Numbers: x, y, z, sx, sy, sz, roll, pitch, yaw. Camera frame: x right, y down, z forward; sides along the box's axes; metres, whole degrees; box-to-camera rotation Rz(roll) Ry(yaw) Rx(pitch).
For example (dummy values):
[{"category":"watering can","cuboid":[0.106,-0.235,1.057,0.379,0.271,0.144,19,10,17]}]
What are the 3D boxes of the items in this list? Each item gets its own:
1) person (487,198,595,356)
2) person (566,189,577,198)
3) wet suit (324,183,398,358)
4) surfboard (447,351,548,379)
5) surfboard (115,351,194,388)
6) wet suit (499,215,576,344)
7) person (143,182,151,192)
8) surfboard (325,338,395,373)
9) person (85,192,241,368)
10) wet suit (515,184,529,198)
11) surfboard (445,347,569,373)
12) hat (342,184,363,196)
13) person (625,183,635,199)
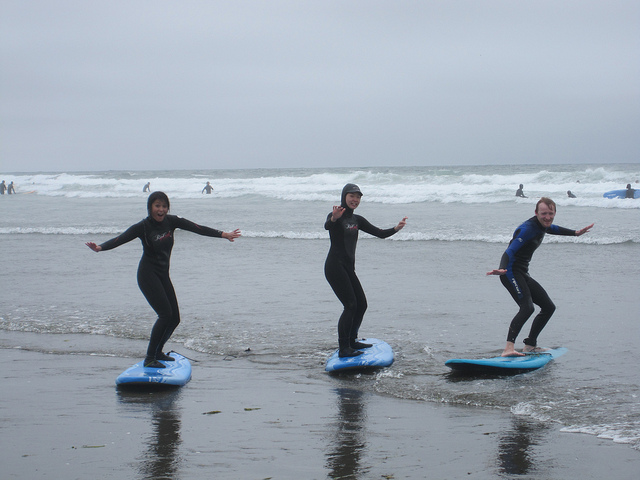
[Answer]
[{"category":"person","cuboid":[2.997,0.561,12.623,0.870,2.357,1.166,2,16,16]},{"category":"person","cuboid":[11.006,-2.063,39.088,0.377,0.449,1.320,-5,-1,27]},{"category":"wet suit","cuboid":[0.447,0.436,12.821,0.833,2.498,1.185,2,16,16]},{"category":"surfboard","cuboid":[2.481,1.751,12.267,1.574,0.160,0.421,-2,2,-24]},{"category":"surfboard","cuboid":[-2.260,1.846,12.161,1.058,0.239,0.674,-5,13,-15]},{"category":"wet suit","cuboid":[3.012,0.574,12.682,1.031,1.892,0.638,-15,20,-40]},{"category":"person","cuboid":[-11.488,-3.555,58.788,0.764,0.404,1.534,-18,1,-7]},{"category":"surfboard","cuboid":[0.623,1.687,12.756,0.792,0.221,1.122,7,15,35]},{"category":"person","cuboid":[-2.210,0.550,12.208,1.508,2.445,0.714,-5,16,-12]},{"category":"wet suit","cuboid":[8.886,-2.140,39.403,0.477,0.666,1.897,1,13,12]},{"category":"surfboard","cuboid":[2.733,1.731,12.372,1.692,0.165,0.475,0,-2,-32]},{"category":"hat","cuboid":[0.445,-0.770,12.845,0.249,0.146,0.338,-2,13,0]},{"category":"person","cuboid":[12.579,-1.976,36.108,0.360,0.532,0.882,3,14,18]}]
